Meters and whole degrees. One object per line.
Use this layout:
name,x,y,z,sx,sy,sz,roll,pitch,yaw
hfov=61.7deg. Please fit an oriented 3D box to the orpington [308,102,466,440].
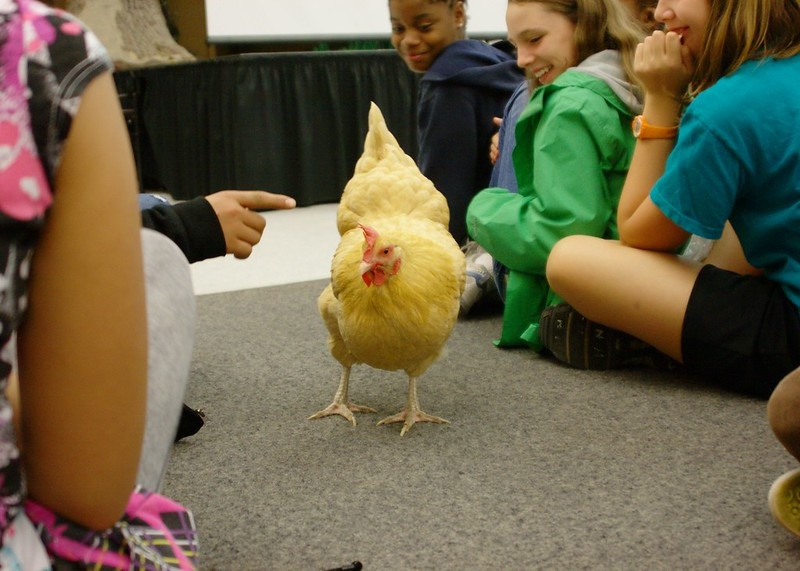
orpington,-0.038,0.008,1.760,0.399,0.667,0.843,0,19,-2

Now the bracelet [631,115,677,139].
bracelet,0.615,-0.368,1.619,0.068,0.041,0.069,-4,-4,-3

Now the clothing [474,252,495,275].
clothing,0.274,-0.074,2.221,0.039,0.071,0.111,-23,14,23

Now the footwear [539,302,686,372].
footwear,0.509,0.150,1.771,0.397,0.153,0.193,13,5,6
